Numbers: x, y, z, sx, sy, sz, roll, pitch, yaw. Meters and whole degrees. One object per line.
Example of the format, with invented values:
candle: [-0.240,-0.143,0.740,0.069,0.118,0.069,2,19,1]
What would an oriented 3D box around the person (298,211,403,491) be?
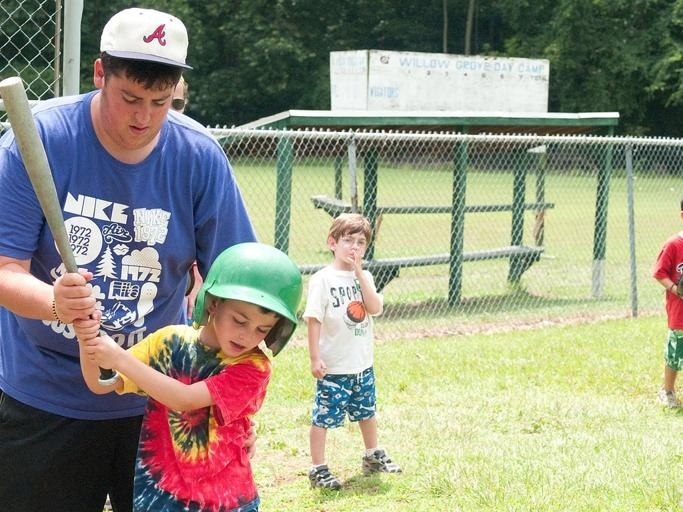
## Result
person: [0.059,0.645,7.430,0.646,1.847,0.793,0,9,-7]

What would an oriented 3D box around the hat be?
hat: [-1.048,-1.160,5.342,0.313,0.205,0.417,3,13,-41]

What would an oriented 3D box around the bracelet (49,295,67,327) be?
bracelet: [-1.472,0.272,5.228,0.045,0.122,0.098,-19,-9,-10]

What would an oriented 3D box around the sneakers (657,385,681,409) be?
sneakers: [2.864,1.205,8.763,0.098,0.125,0.281,-4,-5,7]

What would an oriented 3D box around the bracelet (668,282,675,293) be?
bracelet: [2.893,0.264,8.775,0.044,0.059,0.100,-2,10,-15]

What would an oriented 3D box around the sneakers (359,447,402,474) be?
sneakers: [0.280,1.478,7.445,0.330,0.177,0.127,1,2,25]

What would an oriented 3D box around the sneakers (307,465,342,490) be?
sneakers: [-0.123,1.549,7.192,0.124,0.131,0.236,1,-2,-42]
